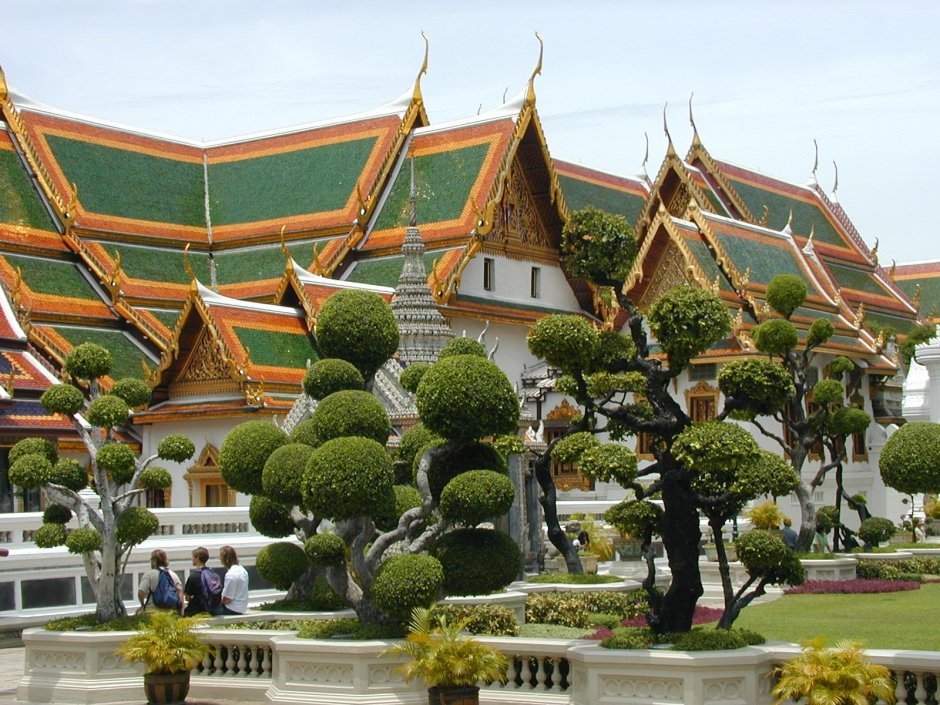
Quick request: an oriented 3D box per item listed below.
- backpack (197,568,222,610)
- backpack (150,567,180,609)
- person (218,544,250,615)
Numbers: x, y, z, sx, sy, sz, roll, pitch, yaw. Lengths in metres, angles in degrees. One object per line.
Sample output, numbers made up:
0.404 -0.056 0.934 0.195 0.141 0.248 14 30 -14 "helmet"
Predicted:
-3.134 2.867 19.447 0.283 0.545 0.340 -15 -16 32 "backpack"
-3.555 2.794 19.046 0.314 0.517 0.363 -2 -11 -12 "backpack"
-2.877 2.784 19.757 0.302 0.892 0.799 -3 -11 -9 "person"
